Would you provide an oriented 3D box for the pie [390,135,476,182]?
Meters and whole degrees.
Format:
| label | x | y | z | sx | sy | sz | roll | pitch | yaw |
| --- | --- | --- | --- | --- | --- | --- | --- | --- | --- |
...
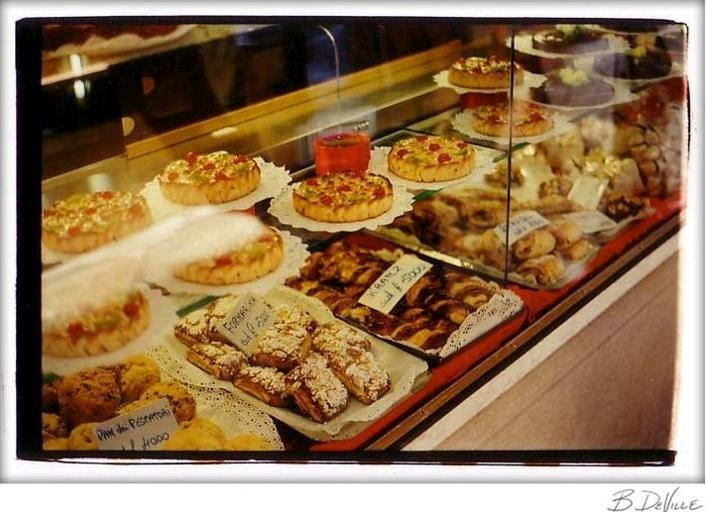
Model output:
| label | x | y | z | sx | sy | sz | roll | pitch | yaw |
| --- | --- | --- | --- | --- | --- | --- | --- | --- | --- |
| pie | 0.356 | -0.455 | 2.489 | 0.388 | 0.121 | 0.304 | -21 | 40 | -23 |

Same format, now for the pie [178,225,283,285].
| label | x | y | z | sx | sy | sz | roll | pitch | yaw |
| --- | --- | --- | --- | --- | --- | --- | --- | --- | --- |
| pie | -0.440 | 0.027 | 2.084 | 0.251 | 0.059 | 0.248 | -18 | 17 | -26 |

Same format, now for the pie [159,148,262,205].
| label | x | y | z | sx | sy | sz | roll | pitch | yaw |
| --- | --- | --- | --- | --- | --- | --- | --- | --- | --- |
| pie | -0.547 | -0.309 | 2.096 | 0.268 | 0.086 | 0.263 | -15 | 32 | -28 |

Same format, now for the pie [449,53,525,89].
| label | x | y | z | sx | sy | sz | roll | pitch | yaw |
| --- | --- | --- | --- | --- | --- | --- | --- | --- | --- |
| pie | 0.601 | -0.877 | 2.632 | 0.285 | 0.075 | 0.275 | 7 | 27 | 7 |

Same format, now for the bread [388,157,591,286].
| label | x | y | z | sx | sy | sz | roll | pitch | yaw |
| --- | --- | --- | --- | --- | --- | --- | --- | --- | --- |
| bread | 0.661 | -0.131 | 2.681 | 0.777 | 0.225 | 0.642 | 20 | 48 | 23 |

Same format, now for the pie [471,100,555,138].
| label | x | y | z | sx | sy | sz | roll | pitch | yaw |
| --- | --- | --- | --- | --- | --- | --- | --- | --- | --- |
| pie | 0.759 | -0.667 | 2.673 | 0.381 | 0.106 | 0.371 | 2 | 27 | -1 |

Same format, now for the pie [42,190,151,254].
| label | x | y | z | sx | sy | sz | roll | pitch | yaw |
| --- | --- | --- | --- | --- | --- | --- | --- | --- | --- |
| pie | -0.945 | -0.099 | 2.019 | 0.321 | 0.093 | 0.232 | -12 | 42 | -5 |

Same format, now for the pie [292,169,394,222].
| label | x | y | z | sx | sy | sz | roll | pitch | yaw |
| --- | --- | --- | --- | --- | --- | --- | --- | --- | --- |
| pie | -0.033 | -0.247 | 2.269 | 0.312 | 0.113 | 0.376 | 28 | 46 | 34 |
